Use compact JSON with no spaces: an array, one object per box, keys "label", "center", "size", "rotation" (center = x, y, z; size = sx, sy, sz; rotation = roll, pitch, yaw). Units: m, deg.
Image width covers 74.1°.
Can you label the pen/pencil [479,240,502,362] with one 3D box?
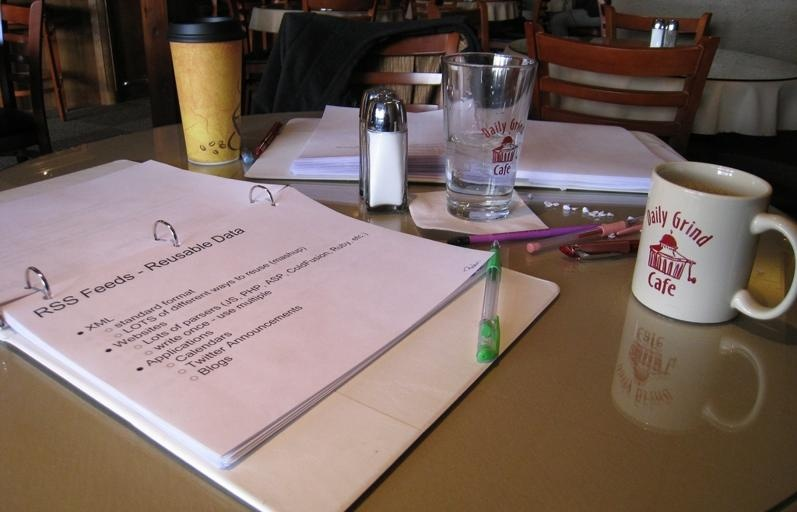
[{"label":"pen/pencil","center":[0.087,0.045,0.465],"size":[0.021,0.017,0.115],"rotation":[0,32,18]}]

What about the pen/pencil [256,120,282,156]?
[{"label":"pen/pencil","center":[-0.218,-0.194,0.881],"size":[0.019,0.016,0.091],"rotation":[20,34,4]}]
